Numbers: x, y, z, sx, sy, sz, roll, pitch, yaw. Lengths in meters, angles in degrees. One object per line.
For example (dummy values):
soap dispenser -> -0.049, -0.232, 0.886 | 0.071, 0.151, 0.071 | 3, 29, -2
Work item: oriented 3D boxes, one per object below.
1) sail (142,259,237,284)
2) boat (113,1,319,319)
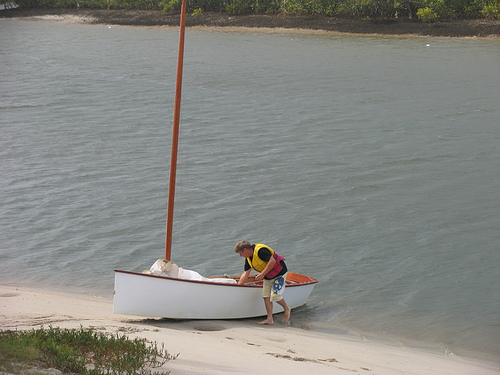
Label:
sail -> -2.482, 3.570, 43.735 | 4.347, 1.244, 0.877 | 7, 9, 15
boat -> -1.311, -1.208, 44.922 | 9.001, 13.270, 4.836 | 1, 14, -7
